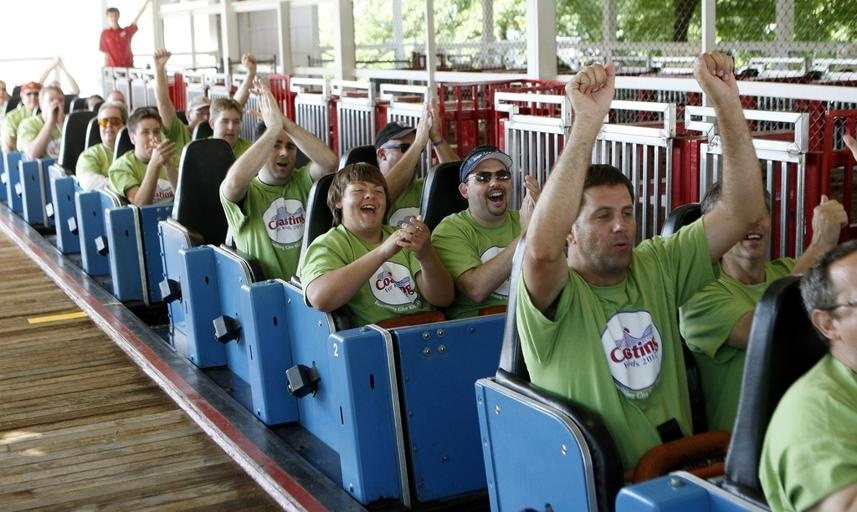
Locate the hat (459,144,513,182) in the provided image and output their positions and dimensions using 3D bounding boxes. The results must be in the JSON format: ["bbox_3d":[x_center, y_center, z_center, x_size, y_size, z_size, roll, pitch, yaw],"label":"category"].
[{"bbox_3d":[0.361,-0.622,4.288,0.273,0.160,0.414,-15,7,17],"label":"hat"}]

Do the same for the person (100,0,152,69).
[{"bbox_3d":[-6.831,-4.838,15.293,0.749,1.259,1.383,-9,15,-28],"label":"person"}]

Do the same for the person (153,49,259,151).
[{"bbox_3d":[-2.573,-2.039,8.227,1.135,0.423,1.399,-2,-28,-17],"label":"person"}]

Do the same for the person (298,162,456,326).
[{"bbox_3d":[-0.296,-0.052,4.086,0.685,0.977,0.614,-10,-13,-29],"label":"person"}]

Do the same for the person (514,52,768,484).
[{"bbox_3d":[0.912,-0.007,3.012,0.602,1.700,1.072,10,18,44],"label":"person"}]

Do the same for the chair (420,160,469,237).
[{"bbox_3d":[0.086,-0.403,4.453,0.273,0.525,0.416,3,-5,-13],"label":"chair"}]
